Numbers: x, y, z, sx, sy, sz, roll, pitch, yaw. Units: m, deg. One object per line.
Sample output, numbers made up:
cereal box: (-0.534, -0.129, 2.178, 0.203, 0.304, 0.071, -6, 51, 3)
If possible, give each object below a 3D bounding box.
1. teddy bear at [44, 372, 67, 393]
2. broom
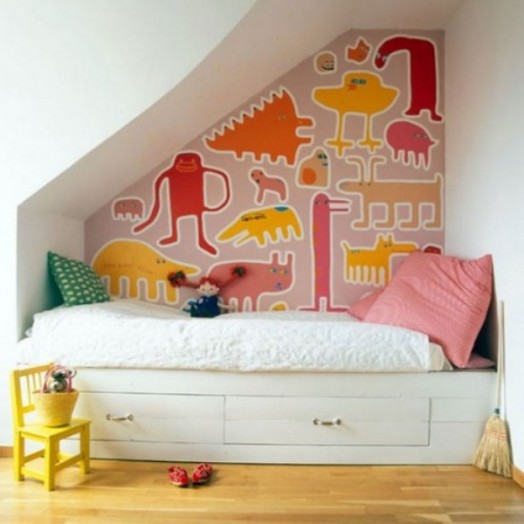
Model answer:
teddy bear: (-0.938, 0.564, 2.435, 0.101, 0.088, 0.070, 1, -1, 31)
broom: (1.122, 0.600, 2.502, 0.194, 0.832, 0.153, -1, -1, -33)
